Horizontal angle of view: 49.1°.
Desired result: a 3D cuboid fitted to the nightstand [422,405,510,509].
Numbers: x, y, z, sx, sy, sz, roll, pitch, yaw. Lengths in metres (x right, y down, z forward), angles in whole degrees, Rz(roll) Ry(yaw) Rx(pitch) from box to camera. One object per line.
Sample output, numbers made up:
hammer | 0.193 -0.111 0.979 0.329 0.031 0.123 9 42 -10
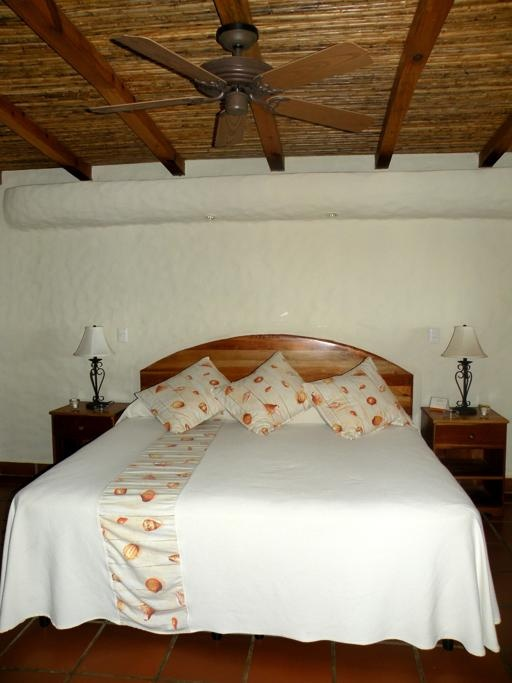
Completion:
nightstand | 1.330 0.729 3.760 0.659 0.759 0.629 0 4 5

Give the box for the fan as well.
fan | -0.060 -0.925 2.084 1.060 0.196 0.838 -2 8 -6

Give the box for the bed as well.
bed | 0.093 0.732 2.824 1.488 0.722 1.352 0 8 6

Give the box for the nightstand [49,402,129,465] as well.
nightstand | -1.204 0.679 3.979 0.409 0.429 0.347 3 8 -3

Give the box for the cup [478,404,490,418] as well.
cup | 1.445 0.451 3.584 0.072 0.077 0.069 0 -1 0
